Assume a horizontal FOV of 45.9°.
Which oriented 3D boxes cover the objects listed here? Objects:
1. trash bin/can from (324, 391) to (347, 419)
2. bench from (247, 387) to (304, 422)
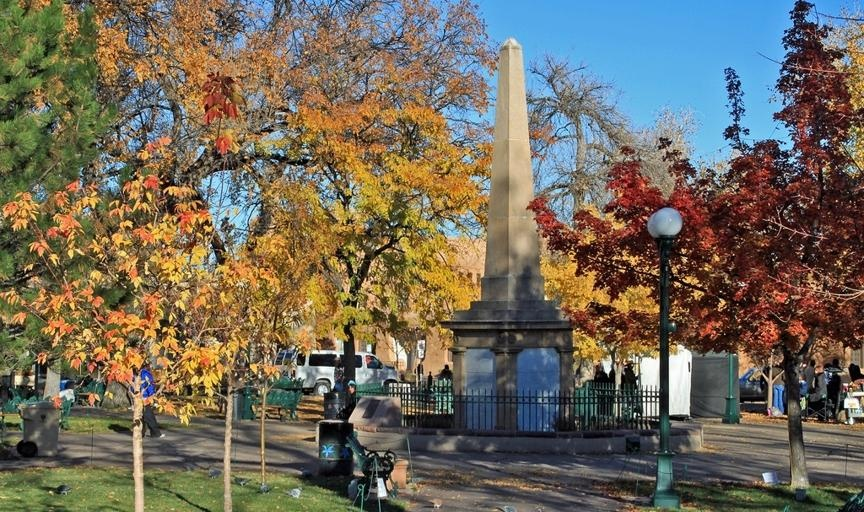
[{"bbox_3d":[-3.111,4.988,34.285,0.819,0.942,0.845,-1,-4,33],"label":"trash bin/can"},{"bbox_3d":[-6.057,5.560,38.610,2.033,1.435,3.329,5,-14,-7],"label":"bench"}]
